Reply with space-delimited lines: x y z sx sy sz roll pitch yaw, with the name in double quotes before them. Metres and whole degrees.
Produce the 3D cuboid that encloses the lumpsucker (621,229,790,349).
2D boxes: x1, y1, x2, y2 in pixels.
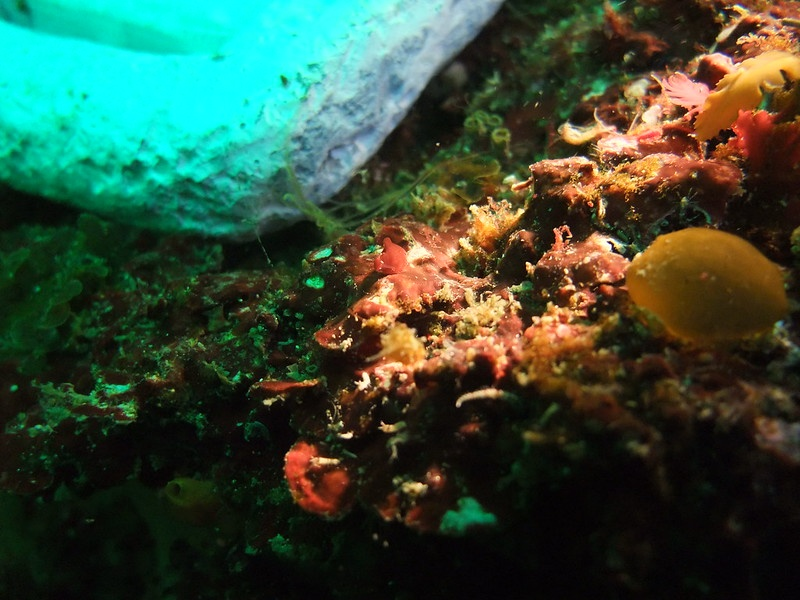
"lumpsucker" 1.757 -0.020 4.672 0.670 0.404 0.671 24 83 13
